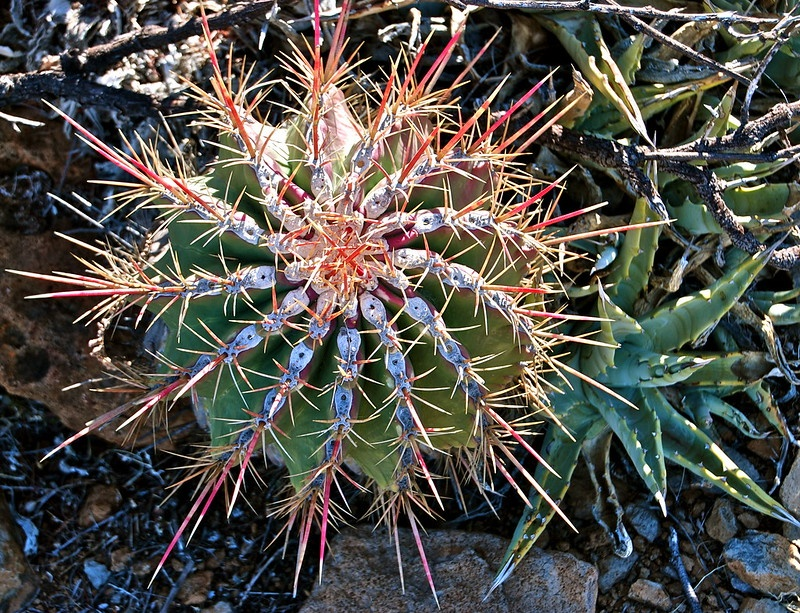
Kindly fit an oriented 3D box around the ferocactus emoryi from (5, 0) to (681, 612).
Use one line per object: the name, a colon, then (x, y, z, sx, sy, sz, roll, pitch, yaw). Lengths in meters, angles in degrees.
ferocactus emoryi: (-0.146, -0.050, 3.292, 1.825, 1.005, 1.992, 0, 84, -1)
